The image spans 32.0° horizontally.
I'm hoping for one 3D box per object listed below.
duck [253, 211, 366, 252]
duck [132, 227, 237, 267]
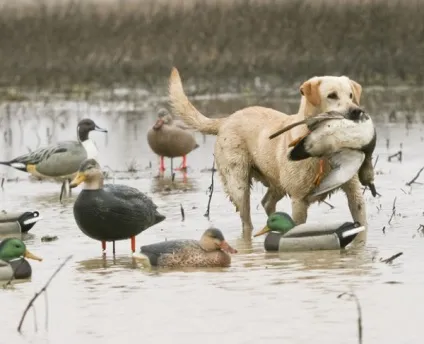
[{"bbox_3d":[1.255,0.783,9.518,1.393,0.486,0.507,0,-5,8],"label":"duck"},{"bbox_3d":[-0.343,0.931,9.140,1.176,0.451,0.531,-1,1,6],"label":"duck"}]
